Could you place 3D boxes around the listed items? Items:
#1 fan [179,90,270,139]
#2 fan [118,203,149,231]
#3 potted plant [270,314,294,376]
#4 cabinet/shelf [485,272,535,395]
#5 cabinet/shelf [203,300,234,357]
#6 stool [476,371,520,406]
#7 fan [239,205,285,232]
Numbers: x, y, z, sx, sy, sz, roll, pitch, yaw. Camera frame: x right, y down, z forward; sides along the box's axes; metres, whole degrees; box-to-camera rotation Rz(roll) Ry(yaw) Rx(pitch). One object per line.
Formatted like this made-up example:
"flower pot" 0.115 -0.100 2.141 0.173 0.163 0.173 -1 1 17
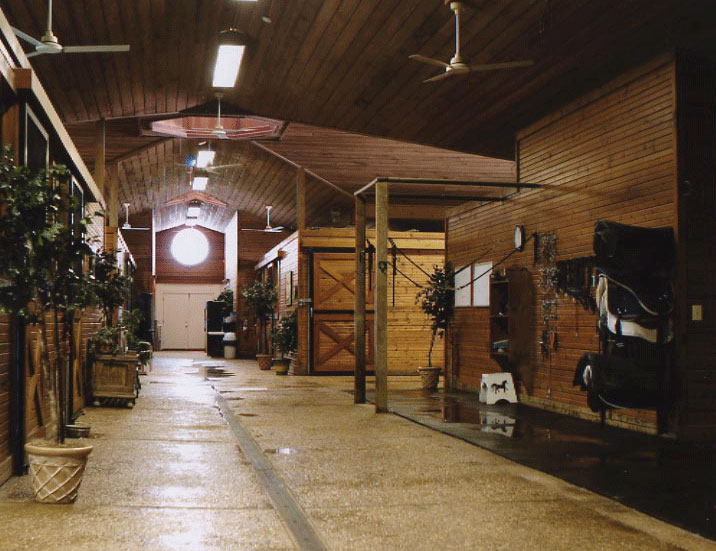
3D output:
"fan" -2.977 -3.481 15.880 2.167 0.654 1.588 -6 1 -22
"fan" -7.629 -1.946 24.868 0.982 0.578 3.338 0 -2 -18
"potted plant" -1.636 1.518 16.181 0.487 1.345 1.167 0 -1 -7
"cabinet/shelf" 2.224 0.802 10.401 0.447 1.843 1.076 0 -1 -1
"cabinet/shelf" -4.543 1.746 23.556 0.907 1.778 0.846 0 -1 13
"stool" 2.022 1.643 10.357 0.515 0.429 0.423 1 -11 -12
"fan" -2.984 -1.725 23.857 1.165 0.642 1.006 2 0 -22
